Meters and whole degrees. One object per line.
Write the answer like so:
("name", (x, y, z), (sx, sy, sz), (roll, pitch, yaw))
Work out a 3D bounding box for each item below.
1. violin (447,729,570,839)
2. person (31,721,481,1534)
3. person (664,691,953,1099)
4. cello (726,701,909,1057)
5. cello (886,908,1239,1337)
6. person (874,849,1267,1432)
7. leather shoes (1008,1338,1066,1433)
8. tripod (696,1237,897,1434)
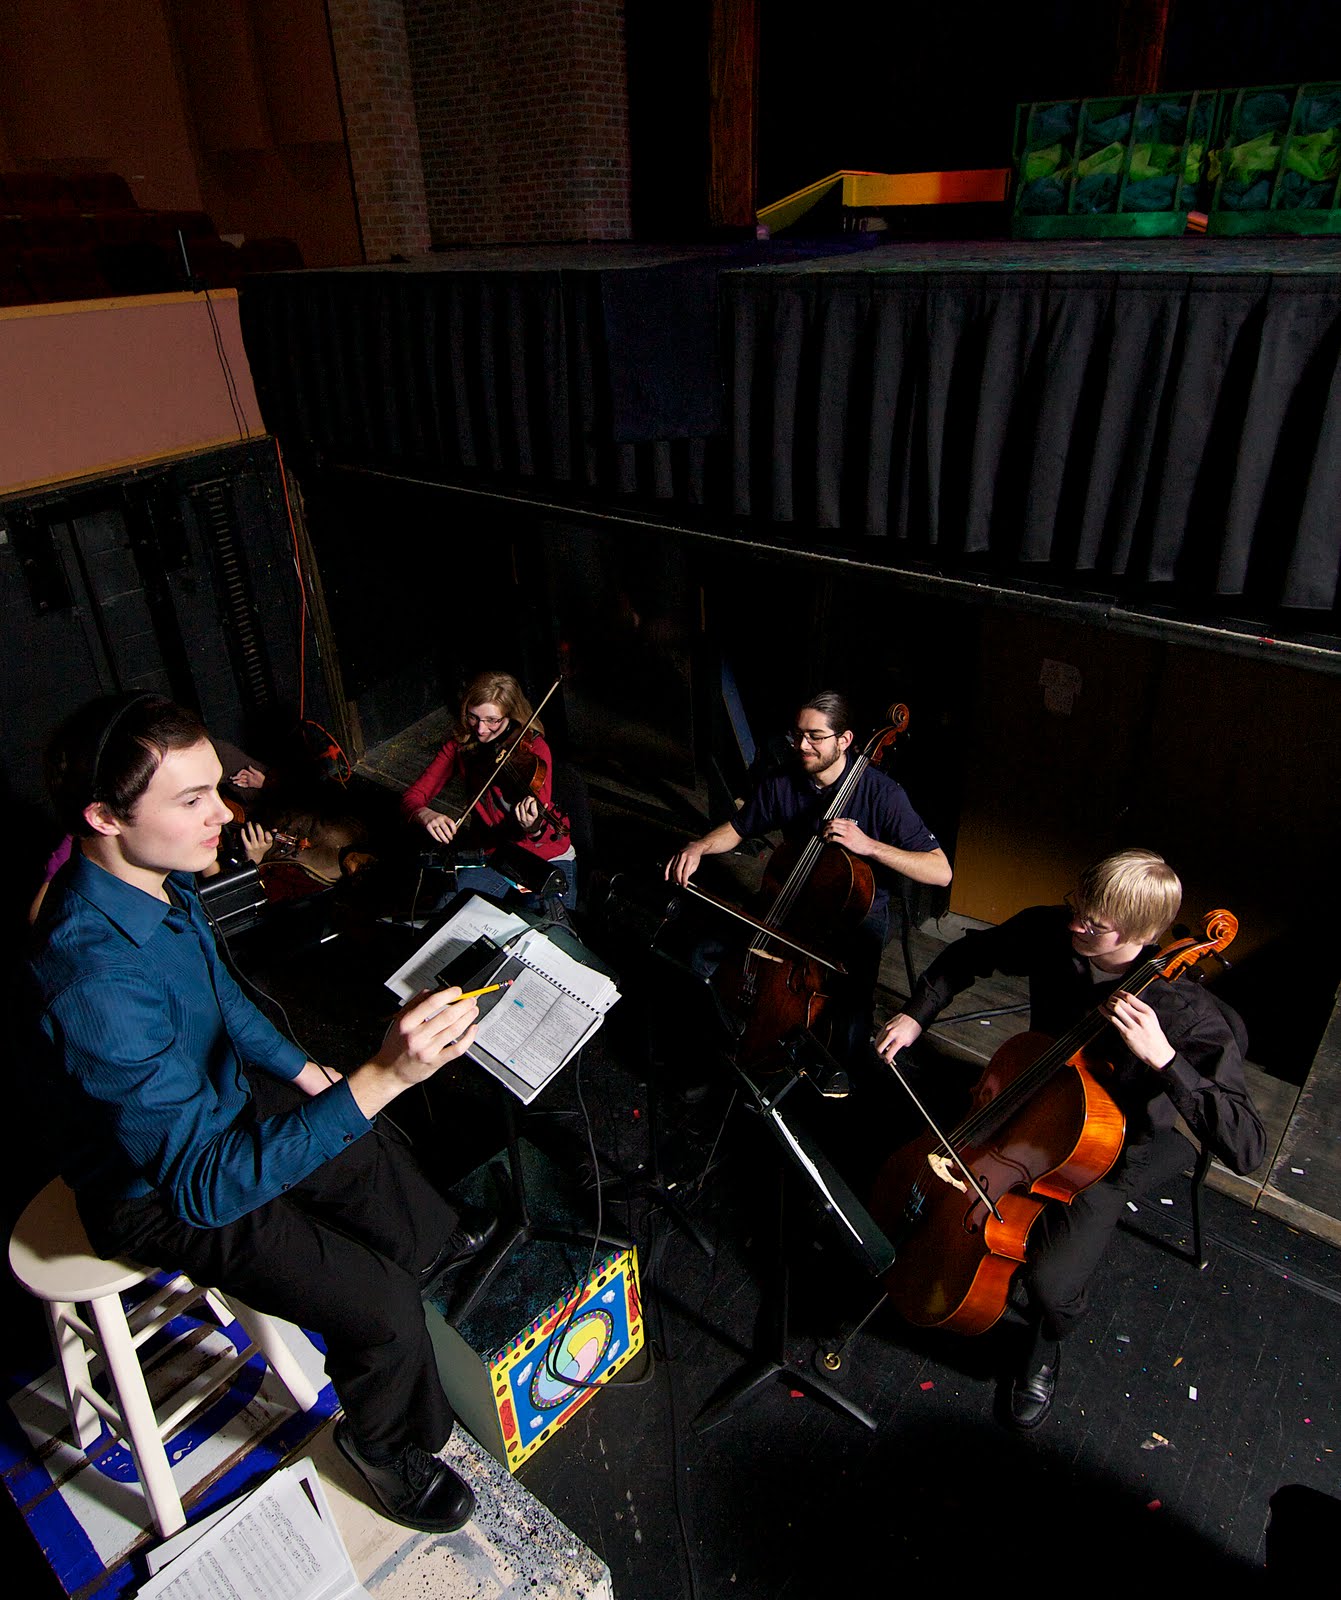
("violin", (-0.550, -0.028, 4.567), (0.366, 0.476, 0.143), (17, 3, -2))
("person", (-0.881, 0.771, 2.748), (0.923, 2.000, 0.721), (10, 38, 19))
("person", (0.527, 0.376, 4.167), (1.070, 1.287, 0.442), (29, 15, 39))
("cello", (0.436, 0.296, 3.987), (0.460, 0.994, 0.967), (10, 37, 19))
("cello", (0.928, 0.893, 3.243), (0.872, 1.267, 0.520), (-28, 42, -30))
("person", (1.278, 0.996, 3.445), (0.565, 1.542, 1.136), (19, 24, -13))
("leather shoes", (0.994, 1.564, 3.249), (0.097, 0.114, 0.288), (5, 33, 37))
("tripod", (0.338, 1.564, 3.289), (0.478, 0.399, 0.153), (-36, 40, -30))
